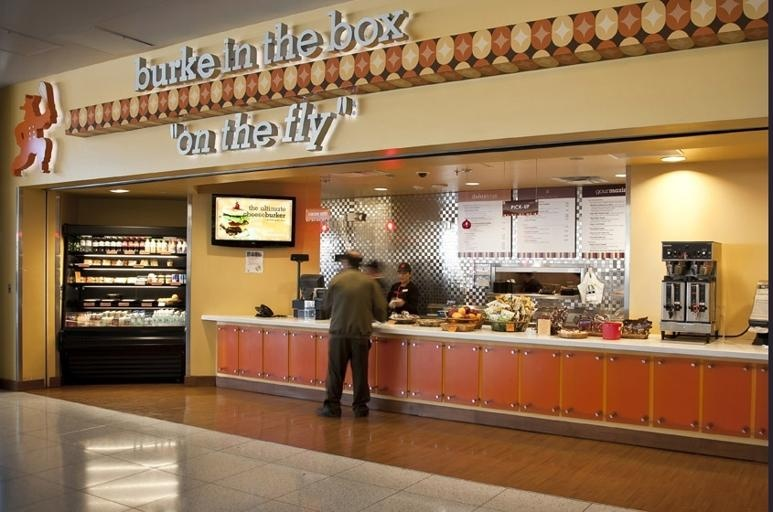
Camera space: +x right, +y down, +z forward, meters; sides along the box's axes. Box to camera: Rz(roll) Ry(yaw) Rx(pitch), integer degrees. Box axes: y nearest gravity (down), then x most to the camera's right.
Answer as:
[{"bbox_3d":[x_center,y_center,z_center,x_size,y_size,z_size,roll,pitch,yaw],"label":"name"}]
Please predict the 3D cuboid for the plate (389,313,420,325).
[{"bbox_3d":[0.253,0.989,8.989,0.530,0.148,0.377,0,2,14],"label":"plate"}]

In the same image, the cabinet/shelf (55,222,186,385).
[{"bbox_3d":[-5.065,0.903,11.030,2.275,3.009,0.899,0,2,-3],"label":"cabinet/shelf"}]

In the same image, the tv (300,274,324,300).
[{"bbox_3d":[-1.293,0.539,9.821,0.491,0.387,0.256,2,5,29],"label":"tv"}]

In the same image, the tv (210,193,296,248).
[{"bbox_3d":[-2.560,-0.659,10.554,1.257,0.689,0.103,-1,3,-12],"label":"tv"}]

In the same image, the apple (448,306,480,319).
[{"bbox_3d":[1.141,0.862,8.471,0.277,0.111,0.280,-2,-3,43],"label":"apple"}]

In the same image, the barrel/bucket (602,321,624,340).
[{"bbox_3d":[2.997,1.000,7.528,0.283,0.173,0.201,-1,-6,12],"label":"barrel/bucket"}]

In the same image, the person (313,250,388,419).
[{"bbox_3d":[-0.509,1.154,8.461,0.981,2.407,0.442,0,2,-4],"label":"person"}]

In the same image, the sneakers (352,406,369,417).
[{"bbox_3d":[-0.381,2.285,8.354,0.226,0.161,0.181,0,2,-1],"label":"sneakers"}]

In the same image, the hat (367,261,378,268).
[{"bbox_3d":[-0.264,0.155,10.431,0.211,0.065,0.194,7,-10,-21],"label":"hat"}]
